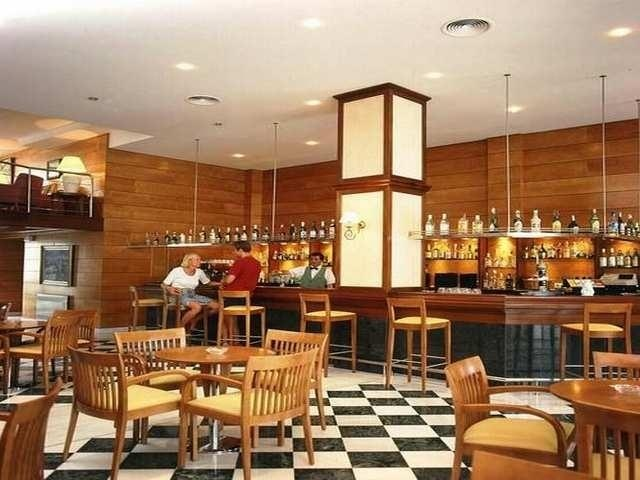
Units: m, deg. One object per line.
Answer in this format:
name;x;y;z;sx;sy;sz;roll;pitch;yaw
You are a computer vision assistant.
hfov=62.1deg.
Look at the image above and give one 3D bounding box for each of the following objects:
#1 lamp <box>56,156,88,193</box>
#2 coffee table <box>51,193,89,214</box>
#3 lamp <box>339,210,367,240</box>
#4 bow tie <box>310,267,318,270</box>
lamp;-5.450;-1.468;11.836;0.598;0.857;0.714;0;1;-23
coffee table;-5.455;-0.819;11.738;0.720;0.359;0.650;4;4;30
lamp;0.435;-0.204;7.811;0.225;0.394;0.434;-1;1;-42
bow tie;-0.094;0.479;8.926;0.158;0.033;0.021;0;1;8
